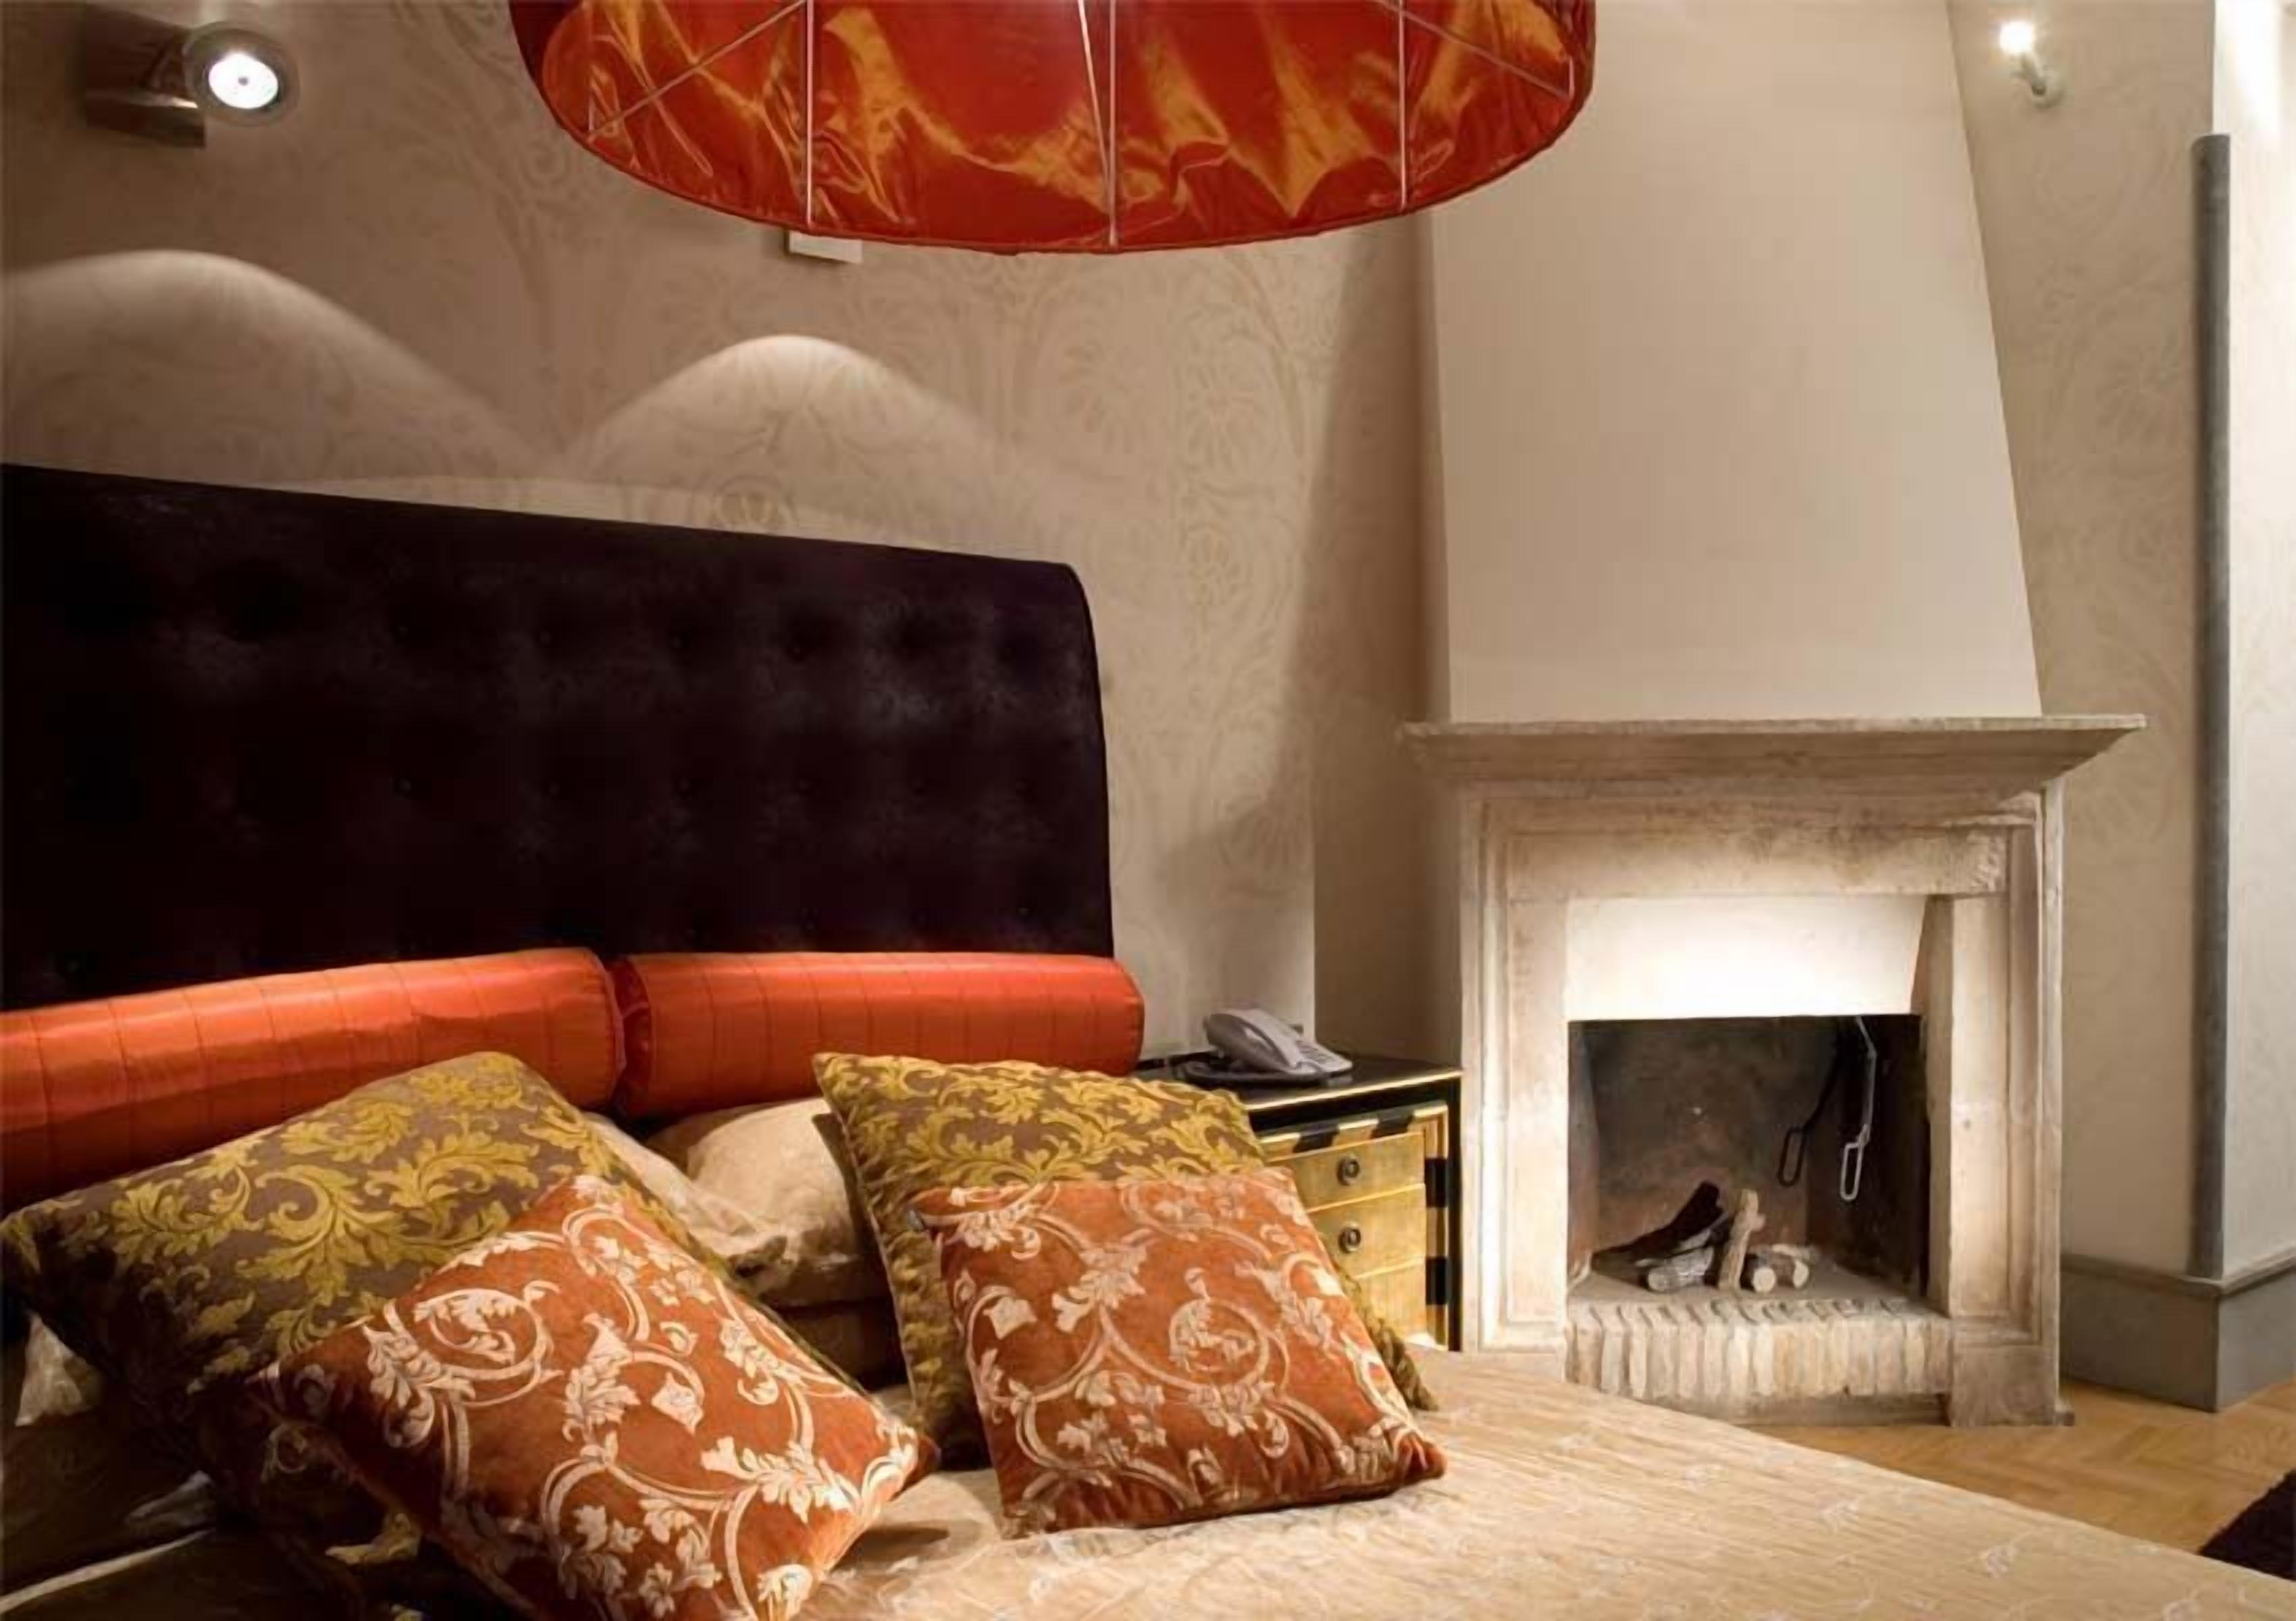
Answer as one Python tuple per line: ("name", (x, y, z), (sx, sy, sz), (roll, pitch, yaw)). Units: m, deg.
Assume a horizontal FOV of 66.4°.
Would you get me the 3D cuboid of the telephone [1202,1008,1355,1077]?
("telephone", (0.252, 0.445, 3.521), (0.198, 0.069, 0.157), (-2, 0, 32))
